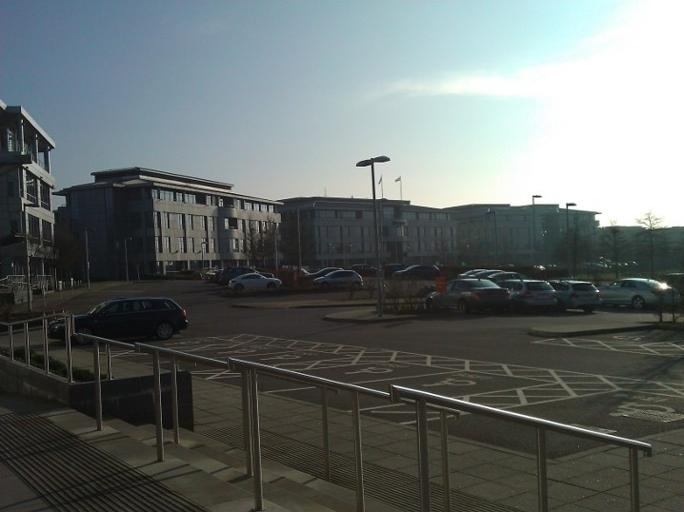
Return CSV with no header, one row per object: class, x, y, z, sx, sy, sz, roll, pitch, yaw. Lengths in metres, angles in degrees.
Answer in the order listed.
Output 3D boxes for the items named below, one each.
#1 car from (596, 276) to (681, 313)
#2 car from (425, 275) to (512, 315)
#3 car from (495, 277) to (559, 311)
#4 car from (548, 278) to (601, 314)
car,14.305,1.810,30.294,2.673,1.574,7.314,-4,-1,2
car,5.566,1.765,28.730,1.327,1.410,3.502,-3,-2,-43
car,8.150,1.667,29.352,1.119,0.807,2.489,-1,4,-9
car,10.468,1.755,30.380,1.103,0.834,2.378,-1,3,-16
